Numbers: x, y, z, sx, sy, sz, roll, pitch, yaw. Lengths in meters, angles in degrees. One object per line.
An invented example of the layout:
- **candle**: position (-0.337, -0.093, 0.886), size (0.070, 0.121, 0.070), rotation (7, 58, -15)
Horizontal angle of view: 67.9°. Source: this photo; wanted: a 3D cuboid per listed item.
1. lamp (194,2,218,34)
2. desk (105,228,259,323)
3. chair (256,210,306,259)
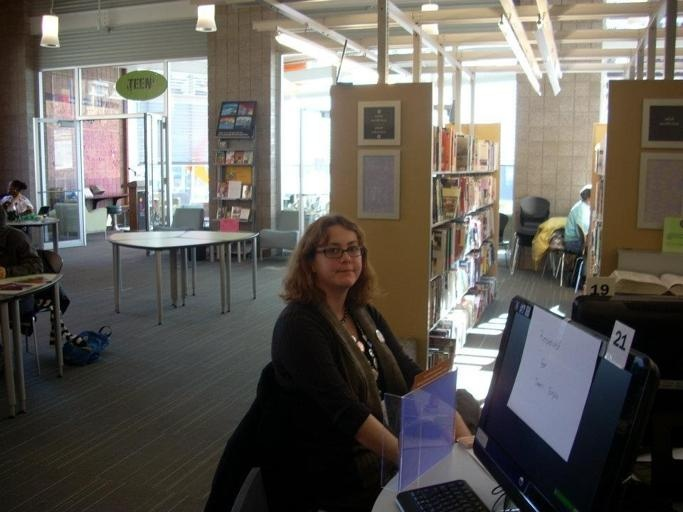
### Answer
- **lamp**: position (-1.834, -3.263, 6.867), size (0.234, 0.384, 0.561), rotation (-2, 10, -17)
- **desk**: position (-2.498, 0.110, 7.565), size (1.989, 1.026, 3.287), rotation (-6, 12, -36)
- **chair**: position (-1.286, -0.444, 10.299), size (0.831, 1.266, 1.112), rotation (2, 1, 19)
